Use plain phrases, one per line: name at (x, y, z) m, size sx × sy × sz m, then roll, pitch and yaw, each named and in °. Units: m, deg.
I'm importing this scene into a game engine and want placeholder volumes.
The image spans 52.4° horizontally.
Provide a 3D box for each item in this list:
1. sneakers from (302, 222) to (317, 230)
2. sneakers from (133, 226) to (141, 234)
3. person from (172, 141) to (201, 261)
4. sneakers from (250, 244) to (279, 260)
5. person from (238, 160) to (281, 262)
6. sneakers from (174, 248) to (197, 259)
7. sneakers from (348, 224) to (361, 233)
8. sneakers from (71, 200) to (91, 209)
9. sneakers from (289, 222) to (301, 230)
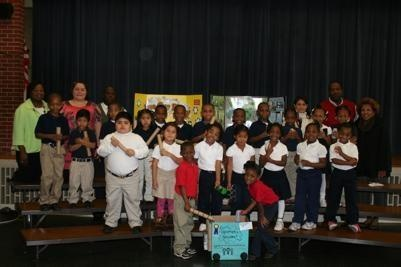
sneakers at (1.659, 1.417, 6.228) m, size 0.183 × 0.072 × 0.100 m, roll 5°, pitch 4°, yaw -10°
sneakers at (-0.960, 1.444, 6.106) m, size 0.128 × 0.097 × 0.071 m, roll -1°, pitch 10°, yaw -11°
person at (-0.229, 0.978, 5.973) m, size 0.342 × 1.694 × 0.329 m, roll 0°, pitch 10°, yaw -2°
sneakers at (0.955, 1.752, 6.021) m, size 0.517 × 0.201 × 0.167 m, roll 3°, pitch -4°, yaw -20°
person at (0.908, 1.115, 6.078) m, size 0.545 × 1.427 × 0.600 m, roll 5°, pitch 11°, yaw 26°
sneakers at (-0.246, 1.758, 5.996) m, size 0.209 × 0.070 × 0.163 m, roll -5°, pitch -1°, yaw 24°
sneakers at (2.348, 1.455, 6.240) m, size 0.088 × 0.084 × 0.176 m, roll 15°, pitch -15°, yaw -16°
sneakers at (-1.890, 1.149, 6.522) m, size 0.336 × 0.124 × 0.110 m, roll 4°, pitch -10°, yaw -4°
sneakers at (1.415, 1.422, 6.177) m, size 0.083 × 0.079 × 0.195 m, roll -12°, pitch -24°, yaw 35°
